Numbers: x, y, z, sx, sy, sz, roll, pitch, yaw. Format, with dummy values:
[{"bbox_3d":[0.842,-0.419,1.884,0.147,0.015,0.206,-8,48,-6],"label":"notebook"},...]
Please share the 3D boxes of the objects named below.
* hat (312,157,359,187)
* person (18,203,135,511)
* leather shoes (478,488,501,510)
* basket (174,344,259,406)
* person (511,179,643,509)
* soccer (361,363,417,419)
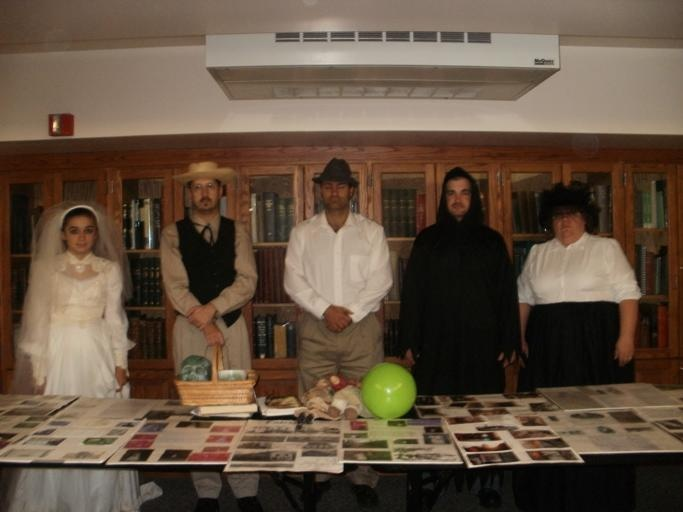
[{"bbox_3d":[-0.025,-0.534,4.737,0.209,0.101,0.238,8,-4,5],"label":"hat"},{"bbox_3d":[-1.657,0.648,4.331,0.741,1.926,0.395,-3,3,-15],"label":"person"},{"bbox_3d":[0.955,1.552,4.545,0.147,0.052,0.196,-1,4,8],"label":"leather shoes"},{"bbox_3d":[-0.650,0.619,3.748,0.413,0.270,0.225,1,1,-3],"label":"basket"},{"bbox_3d":[1.469,0.548,4.439,0.747,2.031,0.646,-1,3,21],"label":"person"},{"bbox_3d":[0.244,0.689,3.625,0.284,0.258,0.306,-2,-13,-8],"label":"soccer"}]
